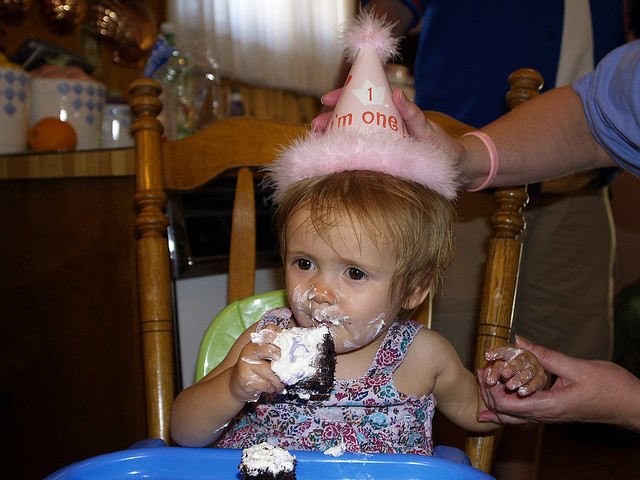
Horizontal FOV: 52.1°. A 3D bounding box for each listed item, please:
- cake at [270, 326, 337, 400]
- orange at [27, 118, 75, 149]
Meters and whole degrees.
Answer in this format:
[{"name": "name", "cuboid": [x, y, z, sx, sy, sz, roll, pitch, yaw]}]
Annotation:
[{"name": "cake", "cuboid": [-0.037, 0.282, 1.517, 0.146, 0.164, 0.071, 2, 5, 1]}, {"name": "orange", "cuboid": [-0.880, -0.336, 2.164, 0.096, 0.122, 0.113, -3, 7, 4]}]
